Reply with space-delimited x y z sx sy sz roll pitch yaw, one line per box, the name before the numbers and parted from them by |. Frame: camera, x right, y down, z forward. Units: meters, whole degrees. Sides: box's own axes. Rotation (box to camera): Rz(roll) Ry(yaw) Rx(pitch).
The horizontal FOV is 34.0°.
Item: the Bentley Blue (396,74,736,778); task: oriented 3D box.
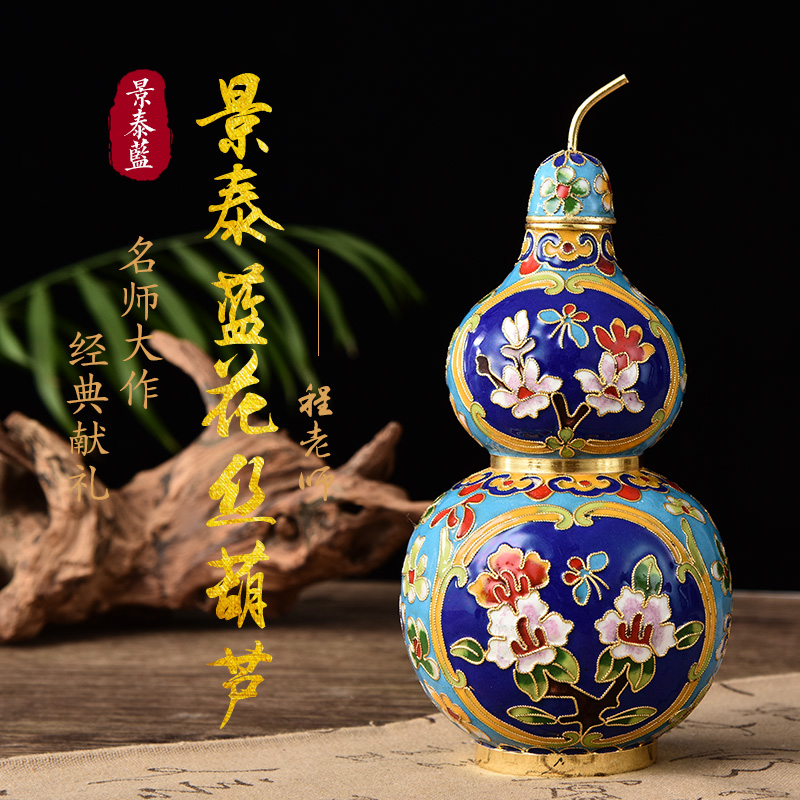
Bentley Blue | 0.198 0.027 1.660 0.423 0.899 0.234 -4 2 -2
